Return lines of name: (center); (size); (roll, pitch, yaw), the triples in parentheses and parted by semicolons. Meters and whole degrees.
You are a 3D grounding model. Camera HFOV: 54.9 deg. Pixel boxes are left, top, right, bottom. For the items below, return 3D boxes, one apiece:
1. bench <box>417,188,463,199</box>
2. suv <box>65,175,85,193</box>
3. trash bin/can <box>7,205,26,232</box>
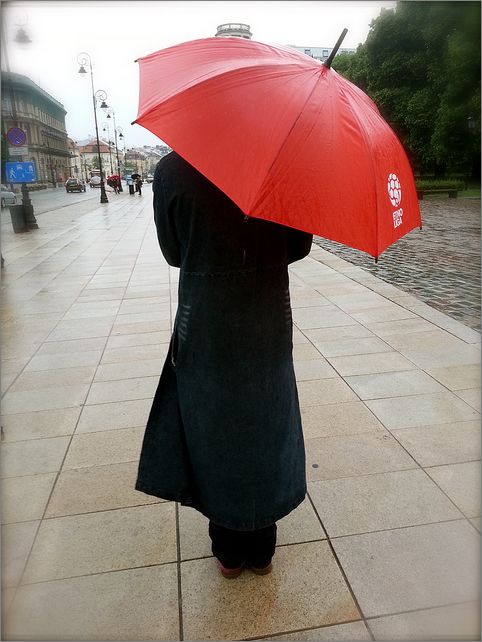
bench: (10.788, -7.039, 25.576); (2.325, 0.530, 2.087); (0, 15, 4)
suv: (-18.303, -15.066, 51.454); (1.346, 1.352, 3.379); (0, 24, -8)
trash bin/can: (-7.084, -3.251, 14.724); (0.447, 0.848, 0.640); (-7, 14, -25)
